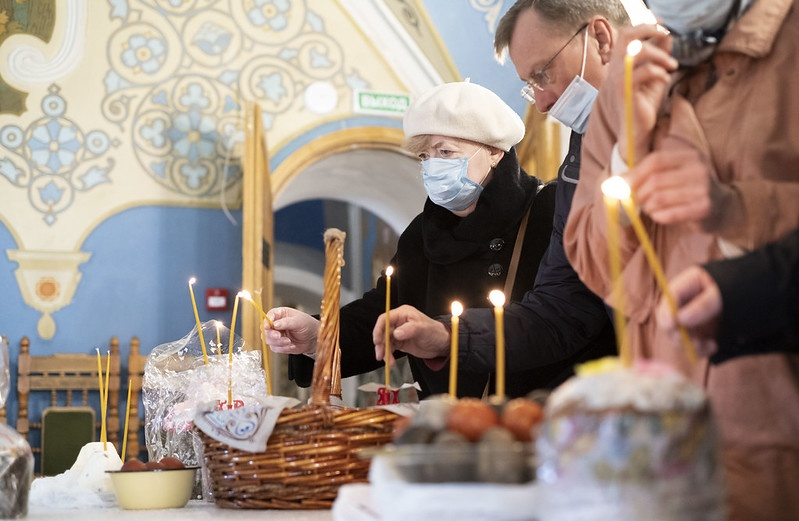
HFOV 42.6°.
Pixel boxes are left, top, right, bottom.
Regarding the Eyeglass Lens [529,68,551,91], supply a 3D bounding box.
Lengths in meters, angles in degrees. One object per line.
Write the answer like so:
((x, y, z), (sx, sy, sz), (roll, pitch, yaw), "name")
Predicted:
((0.401, -0.515, 2.914), (0.014, 0.052, 0.046), (10, 5, -12), "Eyeglass Lens")

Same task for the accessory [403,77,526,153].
((0.210, -0.482, 3.498), (0.302, 0.180, 0.246), (16, -12, -17), "accessory")

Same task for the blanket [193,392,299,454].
((-0.376, 0.390, 2.374), (0.188, 0.081, 0.184), (15, 37, 29), "blanket")

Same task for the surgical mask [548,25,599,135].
((0.478, -0.481, 2.814), (0.074, 0.237, 0.212), (24, -6, 4), "surgical mask")

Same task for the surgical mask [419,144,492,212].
((0.185, -0.280, 3.499), (0.191, 0.161, 0.172), (-35, 17, -18), "surgical mask")

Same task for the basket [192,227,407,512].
((-0.246, 0.272, 2.632), (0.465, 0.779, 0.552), (2, -4, -5), "basket")

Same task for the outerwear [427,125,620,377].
((0.456, -0.020, 2.952), (0.429, 0.604, 0.604), (-15, -38, 37), "outerwear")

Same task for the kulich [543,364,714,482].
((0.458, 0.334, 2.041), (0.314, 0.249, 0.348), (-2, -9, 5), "kulich")

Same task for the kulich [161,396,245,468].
((-0.525, 0.428, 2.636), (0.203, 0.165, 0.193), (-4, -6, 19), "kulich")

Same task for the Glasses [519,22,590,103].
((0.438, -0.566, 2.917), (0.044, 0.184, 0.165), (23, -3, 5), "Glasses")
